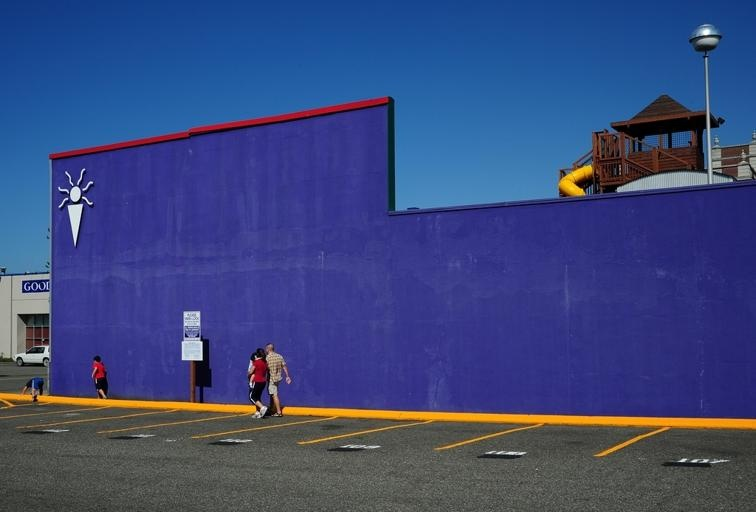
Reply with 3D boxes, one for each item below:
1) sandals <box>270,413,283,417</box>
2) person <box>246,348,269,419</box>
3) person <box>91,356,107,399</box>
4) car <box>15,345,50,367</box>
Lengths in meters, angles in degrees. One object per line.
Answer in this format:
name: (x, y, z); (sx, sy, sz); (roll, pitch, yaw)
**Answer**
sandals: (-3.363, 5.272, 29.054); (0.433, 0.167, 0.145); (2, -2, 30)
person: (-3.930, 4.236, 29.077); (0.641, 2.228, 1.560); (-2, -5, -9)
person: (-10.608, 4.694, 33.685); (0.562, 1.666, 1.243); (-1, -5, -19)
car: (-23.126, 6.881, 59.335); (2.970, 1.332, 1.635); (-7, -7, 44)
